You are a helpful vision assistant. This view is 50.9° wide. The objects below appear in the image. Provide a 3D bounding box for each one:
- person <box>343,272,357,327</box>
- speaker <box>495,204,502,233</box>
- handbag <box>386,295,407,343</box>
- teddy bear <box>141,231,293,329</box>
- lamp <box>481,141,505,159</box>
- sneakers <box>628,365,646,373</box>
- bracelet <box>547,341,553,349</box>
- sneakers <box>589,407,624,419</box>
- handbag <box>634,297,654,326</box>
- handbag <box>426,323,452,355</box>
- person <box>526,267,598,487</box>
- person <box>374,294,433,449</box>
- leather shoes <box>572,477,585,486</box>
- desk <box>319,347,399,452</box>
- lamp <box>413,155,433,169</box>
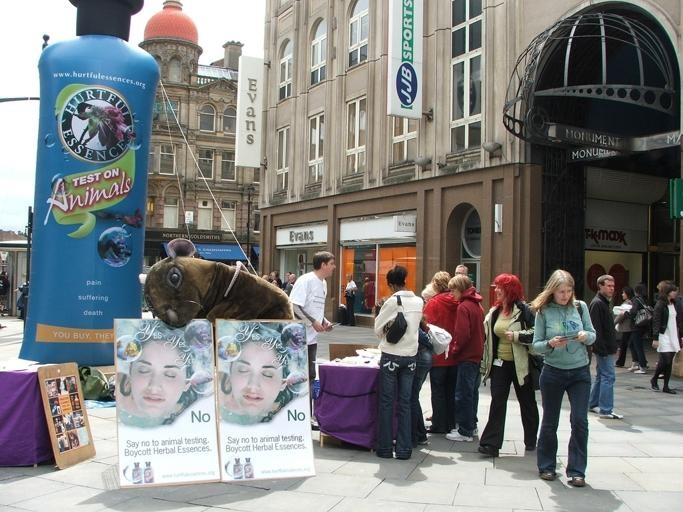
[{"bbox_3d":[0.318,1.544,25.201,0.335,1.765,0.554,0,-1,29],"label":"person"},{"bbox_3d":[4.164,-0.967,18.841,0.194,0.733,0.134,0,-1,14],"label":"speaker"},{"bbox_3d":[0.677,0.878,8.958,0.246,0.407,0.406,0,-13,4],"label":"handbag"},{"bbox_3d":[-1.543,0.483,9.088,1.900,1.119,0.915,8,-10,-25],"label":"teddy bear"},{"bbox_3d":[4.021,-2.773,18.903,0.458,0.401,0.384,3,2,42],"label":"lamp"},{"bbox_3d":[6.423,2.438,15.473,0.124,0.153,0.336,3,-2,-32],"label":"sneakers"},{"bbox_3d":[2.438,1.039,8.363,0.064,0.069,0.069,3,-3,5],"label":"bracelet"},{"bbox_3d":[4.221,2.451,11.289,0.420,0.202,0.149,-1,-1,-8],"label":"sneakers"},{"bbox_3d":[6.167,1.175,14.559,0.355,0.663,0.648,-4,-4,26],"label":"handbag"},{"bbox_3d":[1.295,1.115,9.440,0.270,0.387,0.367,26,-17,-36],"label":"handbag"},{"bbox_3d":[2.642,1.393,8.519,0.702,2.438,0.619,0,-1,20],"label":"person"},{"bbox_3d":[0.731,1.351,9.174,0.631,2.383,0.509,1,-1,-8],"label":"person"},{"bbox_3d":[2.714,2.566,8.169,0.074,0.059,0.142,2,-1,8],"label":"leather shoes"},{"bbox_3d":[0.196,1.916,9.697,1.065,0.874,0.931,0,-5,44],"label":"desk"},{"bbox_3d":[2.466,-2.784,21.475,0.517,0.409,0.396,0,0,26],"label":"lamp"}]
